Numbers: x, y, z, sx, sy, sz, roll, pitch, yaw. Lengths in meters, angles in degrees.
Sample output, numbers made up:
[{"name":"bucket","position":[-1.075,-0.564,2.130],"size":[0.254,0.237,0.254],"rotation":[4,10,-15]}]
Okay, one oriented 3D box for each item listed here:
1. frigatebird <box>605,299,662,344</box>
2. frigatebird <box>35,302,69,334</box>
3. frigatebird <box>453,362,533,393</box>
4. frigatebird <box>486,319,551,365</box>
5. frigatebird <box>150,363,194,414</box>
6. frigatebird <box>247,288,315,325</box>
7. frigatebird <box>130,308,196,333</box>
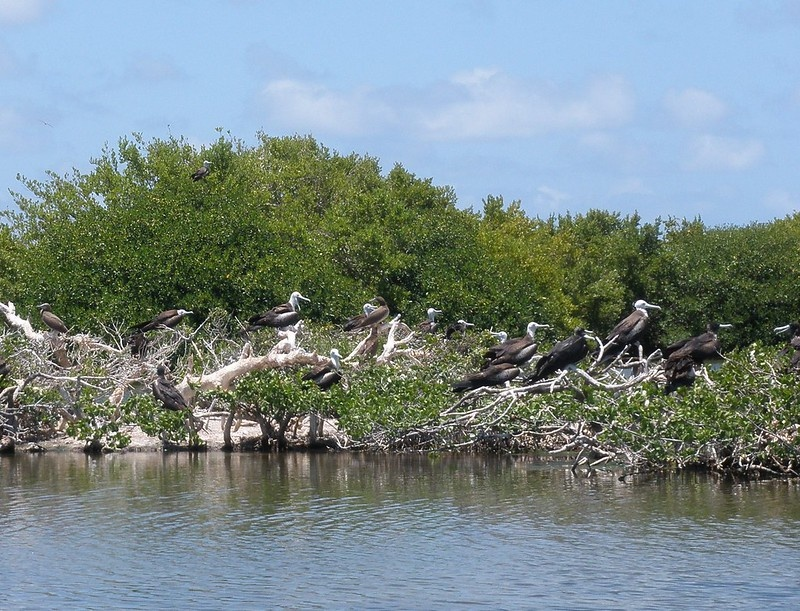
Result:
[{"name":"frigatebird","position":[5.774,0.499,39.297],"size":[1.777,1.387,0.779],"rotation":[-5,3,-10]},{"name":"frigatebird","position":[-10.321,0.494,45.800],"size":[0.617,0.997,1.702],"rotation":[-4,13,-15]},{"name":"frigatebird","position":[2.265,1.799,38.558],"size":[1.999,0.852,0.695],"rotation":[-4,26,1]},{"name":"frigatebird","position":[2.877,1.070,39.127],"size":[1.706,1.352,0.867],"rotation":[-8,12,-23]},{"name":"frigatebird","position":[-6.410,2.389,43.017],"size":[1.742,1.145,0.604],"rotation":[22,13,38]},{"name":"frigatebird","position":[-3.533,0.091,45.969],"size":[1.785,1.268,0.861],"rotation":[0,7,-21]},{"name":"frigatebird","position":[-6.810,0.401,44.558],"size":[1.947,0.815,0.667],"rotation":[0,-20,-17]}]
